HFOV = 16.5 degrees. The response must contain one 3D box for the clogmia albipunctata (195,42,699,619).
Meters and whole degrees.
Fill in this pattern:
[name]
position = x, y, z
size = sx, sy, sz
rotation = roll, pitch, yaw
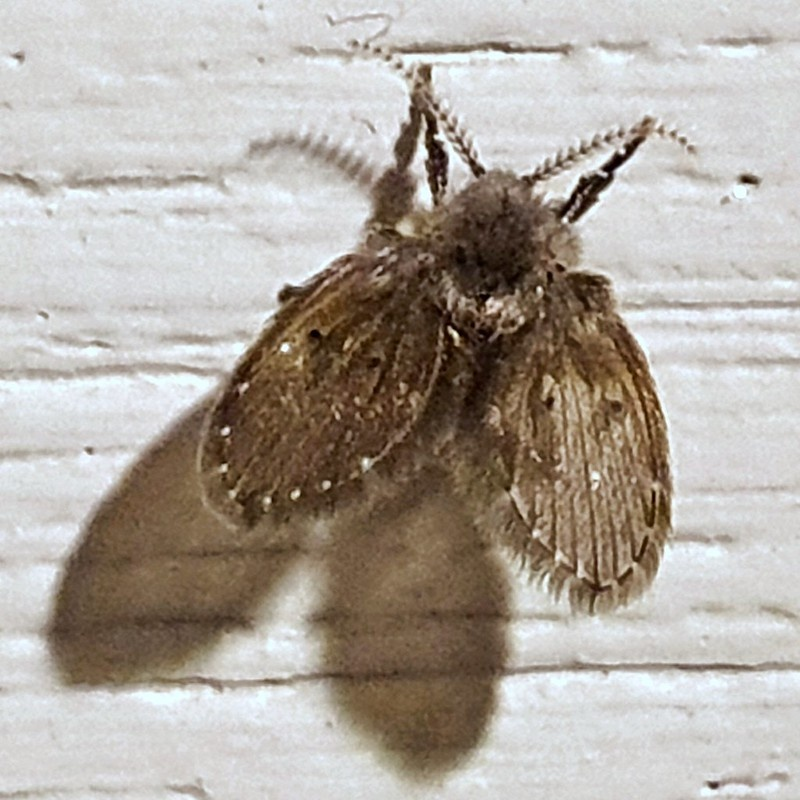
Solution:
[clogmia albipunctata]
position = 0.180, -0.121, 7.282
size = 0.900, 1.420, 1.073
rotation = 6, 105, 6
